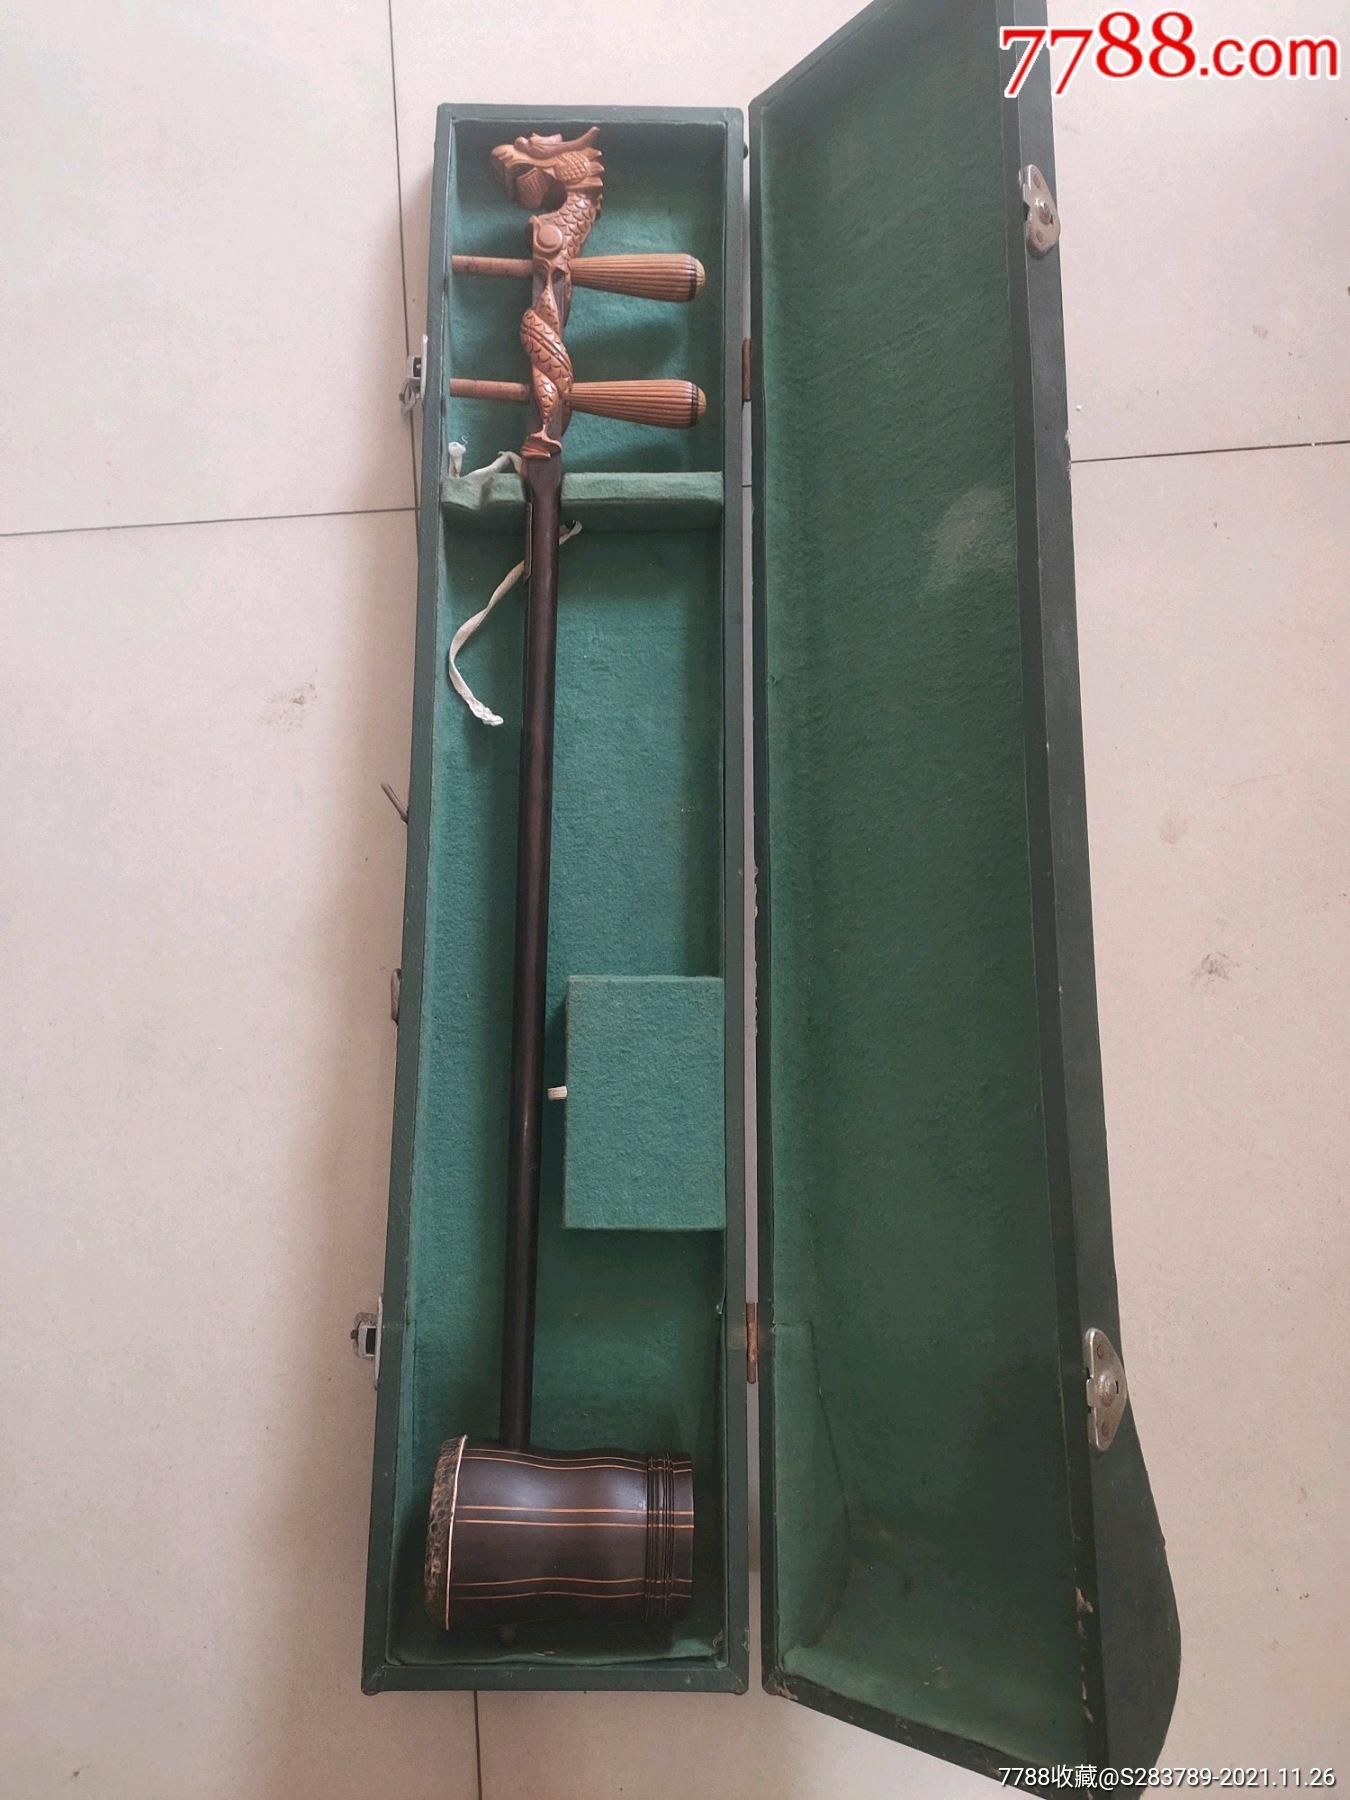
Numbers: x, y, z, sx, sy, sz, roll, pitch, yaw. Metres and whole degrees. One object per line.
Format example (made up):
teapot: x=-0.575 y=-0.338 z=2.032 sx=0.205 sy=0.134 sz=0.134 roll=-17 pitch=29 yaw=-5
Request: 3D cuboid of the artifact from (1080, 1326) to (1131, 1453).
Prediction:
artifact: x=0.312 y=0.357 z=1.413 sx=0.017 sy=0.088 sz=0.056 roll=-9 pitch=-13 yaw=31

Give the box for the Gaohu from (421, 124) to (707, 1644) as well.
Gaohu: x=-0.087 y=-0.049 z=1.609 sx=0.250 sy=1.239 sz=0.108 roll=-2 pitch=-11 yaw=-2

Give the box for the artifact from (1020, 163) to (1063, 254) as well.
artifact: x=0.275 y=-0.522 z=1.477 sx=0.043 sy=0.064 sz=0.024 roll=-12 pitch=14 yaw=-26
